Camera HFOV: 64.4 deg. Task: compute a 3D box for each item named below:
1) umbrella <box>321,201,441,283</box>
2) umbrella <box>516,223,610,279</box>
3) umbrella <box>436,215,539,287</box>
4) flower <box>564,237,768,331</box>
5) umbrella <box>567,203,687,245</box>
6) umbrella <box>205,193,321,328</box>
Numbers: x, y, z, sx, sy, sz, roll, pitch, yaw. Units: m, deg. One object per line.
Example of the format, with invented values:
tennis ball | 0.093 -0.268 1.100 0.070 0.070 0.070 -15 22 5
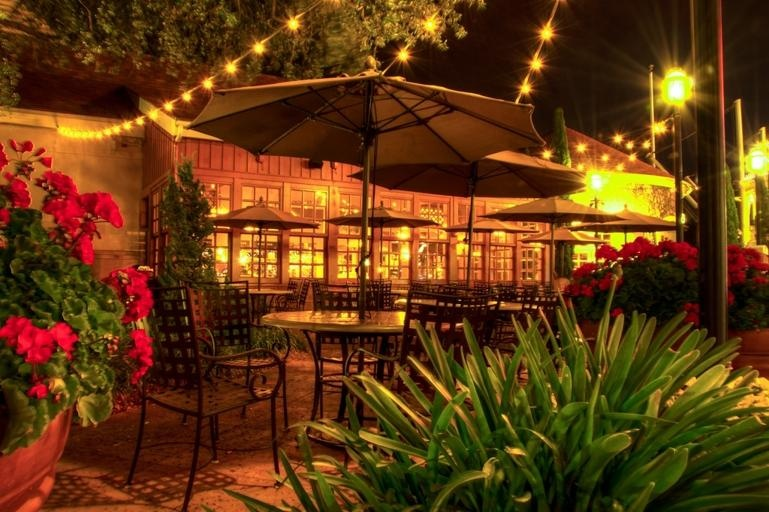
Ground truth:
umbrella | -0.055 -0.186 10.292 1.404 0.834 1.271 0 -7 5
umbrella | 3.684 -0.359 12.237 1.742 1.016 1.675 -2 4 -15
umbrella | 2.689 -0.236 13.789 2.009 1.209 1.717 3 -5 -28
flower | 2.479 0.221 5.390 1.664 0.849 0.709 3 0 15
umbrella | 4.888 -0.687 12.483 1.877 0.821 1.810 3 3 22
umbrella | -1.990 -0.081 10.741 2.023 1.565 2.000 -3 3 -35
